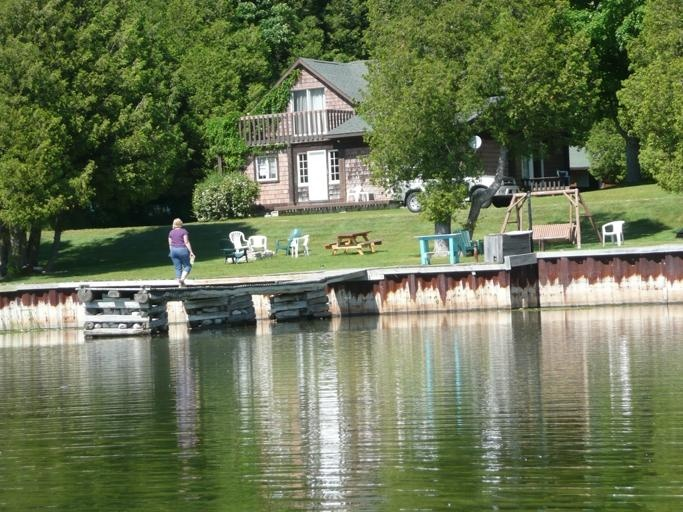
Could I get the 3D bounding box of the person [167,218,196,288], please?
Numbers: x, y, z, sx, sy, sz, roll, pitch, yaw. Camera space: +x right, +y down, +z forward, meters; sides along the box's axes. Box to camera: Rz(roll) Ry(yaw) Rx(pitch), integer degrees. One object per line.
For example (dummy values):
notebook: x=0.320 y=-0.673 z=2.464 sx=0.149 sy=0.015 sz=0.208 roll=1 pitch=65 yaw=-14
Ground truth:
person: x=-5.742 y=-0.079 z=69.346 sx=1.080 sy=2.486 sz=1.002 roll=-2 pitch=1 yaw=7

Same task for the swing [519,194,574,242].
swing: x=8.318 y=-1.538 z=75.621 sx=1.995 sy=1.907 sz=0.998 roll=-2 pitch=11 yaw=-10
